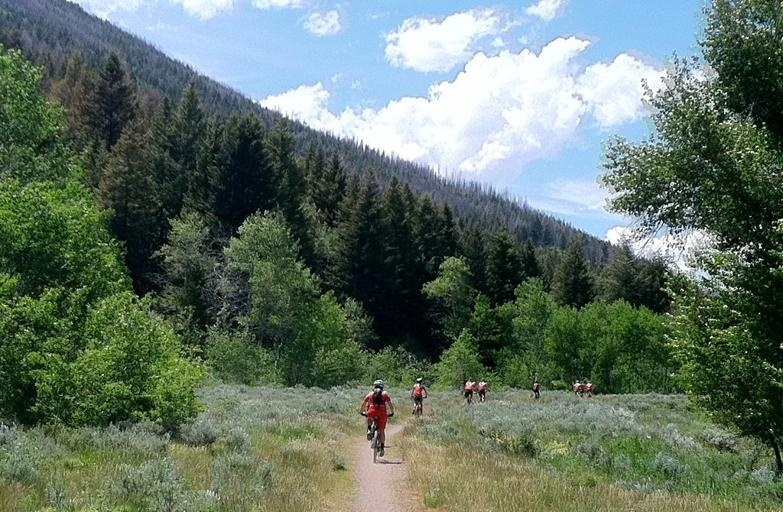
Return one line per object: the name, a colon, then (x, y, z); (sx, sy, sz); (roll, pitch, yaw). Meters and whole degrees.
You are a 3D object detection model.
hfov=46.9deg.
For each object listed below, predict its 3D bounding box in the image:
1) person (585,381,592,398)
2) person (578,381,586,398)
person: (18.899, 12.894, 86.625); (0.637, 0.984, 1.587); (-7, -35, -2)
person: (18.151, 12.824, 86.405); (0.397, 1.088, 1.931); (-2, -42, 7)
